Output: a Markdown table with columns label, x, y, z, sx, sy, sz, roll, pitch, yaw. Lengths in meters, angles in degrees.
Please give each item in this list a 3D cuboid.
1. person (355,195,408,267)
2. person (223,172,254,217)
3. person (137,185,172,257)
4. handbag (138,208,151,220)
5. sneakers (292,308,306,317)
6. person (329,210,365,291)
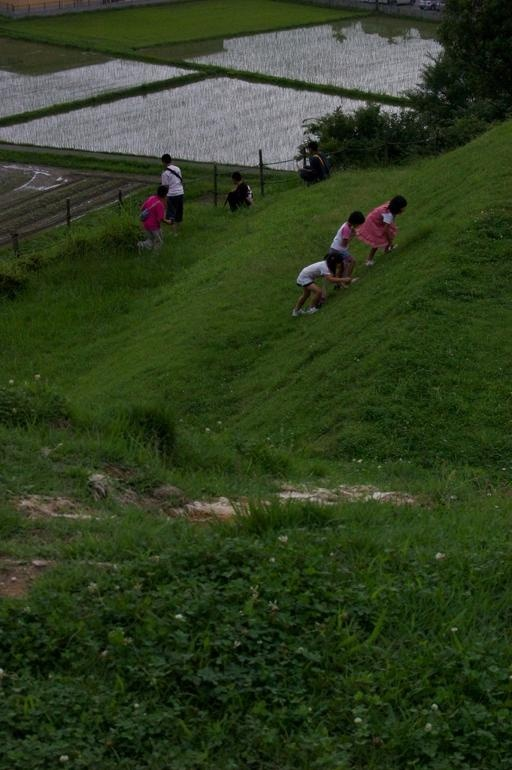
| label | x | y | z | sx | sy | sz | roll | pitch | yaw |
| --- | --- | --- | --- | --- | --- | --- | --- | --- | --- |
| person | 1.699 | -2.100 | 18.489 | 0.671 | 1.071 | 0.372 | -1 | 45 | -12 |
| person | -0.165 | -3.486 | 25.213 | 0.669 | 1.036 | 0.790 | -5 | 11 | -2 |
| person | -1.675 | -2.862 | 23.685 | 0.494 | 1.177 | 1.802 | 3 | 12 | -5 |
| handbag | -1.800 | -2.828 | 23.026 | 0.137 | 0.214 | 0.241 | 3 | 12 | -6 |
| sneakers | 0.621 | -0.974 | 18.918 | 0.062 | 0.144 | 0.270 | -3 | 7 | -11 |
| person | 1.296 | -1.791 | 18.936 | 0.532 | 0.493 | 1.312 | -12 | -20 | -3 |
